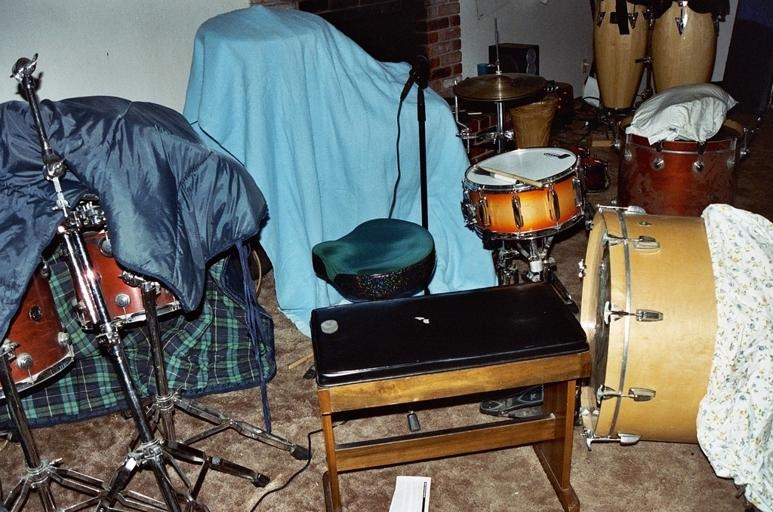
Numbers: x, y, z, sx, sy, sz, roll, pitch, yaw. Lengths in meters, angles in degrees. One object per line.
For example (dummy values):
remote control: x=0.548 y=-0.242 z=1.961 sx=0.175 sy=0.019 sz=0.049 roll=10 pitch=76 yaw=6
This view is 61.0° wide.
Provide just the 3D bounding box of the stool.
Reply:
stool: x=-0.050 y=0.224 z=3.638 sx=0.853 sy=0.973 sz=0.898 roll=9 pitch=45 yaw=12

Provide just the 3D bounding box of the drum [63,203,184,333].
drum: x=-1.076 y=0.030 z=2.696 sx=0.383 sy=0.435 sz=0.314 roll=-15 pitch=10 yaw=25

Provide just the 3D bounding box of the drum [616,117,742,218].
drum: x=1.805 y=-0.591 z=4.229 sx=0.589 sy=0.619 sz=0.613 roll=4 pitch=41 yaw=21

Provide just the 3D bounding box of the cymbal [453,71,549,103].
cymbal: x=0.711 y=-1.056 z=4.124 sx=0.568 sy=0.164 sz=0.403 roll=1 pitch=25 yaw=11

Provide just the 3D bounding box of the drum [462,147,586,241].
drum: x=0.663 y=-0.245 z=3.498 sx=0.519 sy=0.237 sz=0.532 roll=-7 pitch=6 yaw=1

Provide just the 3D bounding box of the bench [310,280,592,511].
bench: x=0.306 y=0.632 z=2.896 sx=0.776 sy=0.681 sz=0.488 roll=-9 pitch=39 yaw=-11

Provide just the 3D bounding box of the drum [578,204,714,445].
drum: x=1.156 y=0.341 z=2.977 sx=0.558 sy=0.975 sz=0.612 roll=-3 pitch=24 yaw=1
